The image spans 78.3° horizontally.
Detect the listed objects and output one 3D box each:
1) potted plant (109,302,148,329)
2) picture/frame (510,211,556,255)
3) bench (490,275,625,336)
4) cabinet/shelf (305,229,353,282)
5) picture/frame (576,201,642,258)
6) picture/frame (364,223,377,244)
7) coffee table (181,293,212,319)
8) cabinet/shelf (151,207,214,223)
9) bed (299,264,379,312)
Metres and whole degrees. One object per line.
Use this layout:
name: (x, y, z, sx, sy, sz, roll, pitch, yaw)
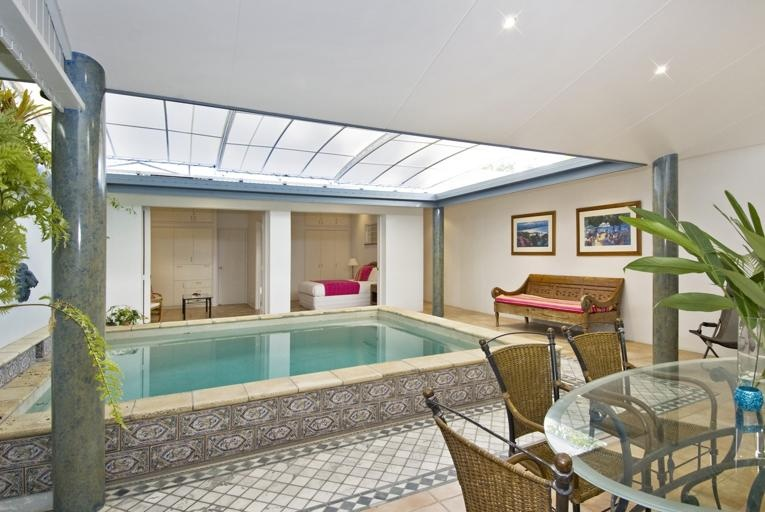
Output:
potted plant: (-4.042, 0.958, 7.436, 0.632, 0.251, 0.608, 6, 6, -7)
picture/frame: (2.839, -0.399, 8.933, 0.049, 0.738, 1.110, -1, -1, -27)
bench: (2.851, 0.806, 7.937, 0.888, 0.945, 2.094, -1, 1, -23)
cabinet/shelf: (-1.550, -0.016, 13.074, 1.474, 1.690, 0.559, 0, 0, -31)
picture/frame: (3.461, -0.404, 7.147, 0.041, 0.772, 0.948, 4, -4, -29)
picture/frame: (-0.299, -0.582, 11.916, 0.061, 0.387, 0.548, 1, -4, -18)
coffee table: (-4.003, 1.092, 10.100, 0.531, 0.391, 0.512, -2, 4, -31)
cabinet/shelf: (-4.716, -0.945, 11.178, 1.399, 0.298, 0.252, -1, -1, -27)
bed: (-0.976, 0.832, 10.761, 1.248, 0.772, 1.252, 2, -3, -20)
